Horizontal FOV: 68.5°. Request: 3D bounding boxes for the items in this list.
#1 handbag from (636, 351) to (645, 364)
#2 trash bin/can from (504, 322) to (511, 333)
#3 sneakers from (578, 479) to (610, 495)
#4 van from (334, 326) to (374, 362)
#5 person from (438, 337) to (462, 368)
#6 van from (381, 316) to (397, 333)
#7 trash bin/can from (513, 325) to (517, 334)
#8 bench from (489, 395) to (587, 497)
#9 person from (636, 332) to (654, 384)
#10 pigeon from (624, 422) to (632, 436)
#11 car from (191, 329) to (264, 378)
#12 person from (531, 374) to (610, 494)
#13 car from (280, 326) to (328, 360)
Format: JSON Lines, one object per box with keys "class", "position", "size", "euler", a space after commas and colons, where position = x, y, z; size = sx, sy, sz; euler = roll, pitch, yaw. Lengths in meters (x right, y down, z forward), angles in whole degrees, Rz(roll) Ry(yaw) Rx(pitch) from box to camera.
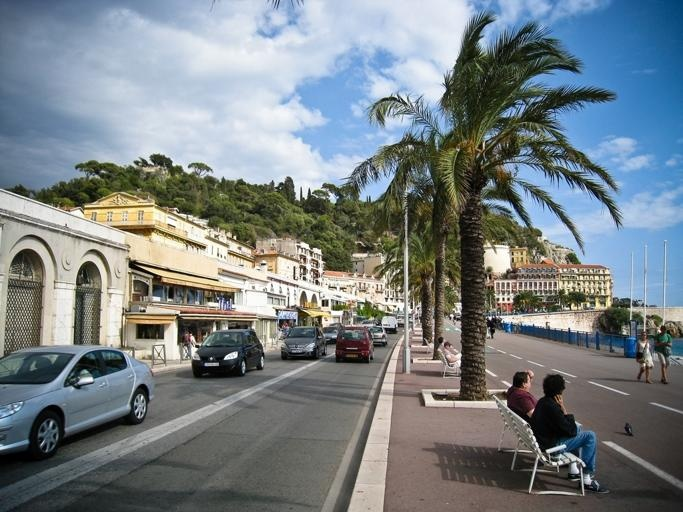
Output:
{"class": "handbag", "position": [10.302, 3.566, 17.315], "size": [0.252, 0.367, 0.337], "euler": [-18, -23, 36]}
{"class": "trash bin/can", "position": [22.132, 9.617, 66.316], "size": [0.977, 1.273, 1.059], "euler": [1, -4, -13]}
{"class": "sneakers", "position": [3.707, 3.395, 7.333], "size": [0.303, 0.144, 0.136], "euler": [0, -1, 7]}
{"class": "van", "position": [0.722, 4.700, 26.524], "size": [1.183, 1.211, 2.224], "euler": [0, -2, 7]}
{"class": "person", "position": [4.096, 3.783, 19.035], "size": [0.604, 0.878, 0.671], "euler": [3, -8, -18]}
{"class": "van", "position": [6.642, 9.496, 68.283], "size": [1.516, 1.706, 2.856], "euler": [0, 0, 10]}
{"class": "trash bin/can", "position": [21.948, 9.307, 63.263], "size": [0.476, 1.059, 2.506], "euler": [-1, -9, 16]}
{"class": "bench", "position": [3.030, 3.086, 8.314], "size": [0.651, 0.833, 2.048], "euler": [8, -3, -7]}
{"class": "person", "position": [10.930, 3.676, 18.086], "size": [0.464, 1.739, 2.513], "euler": [-3, -9, 31]}
{"class": "pigeon", "position": [5.770, 3.518, 10.082], "size": [0.134, 0.247, 0.230], "euler": [-10, -10, 37]}
{"class": "car", "position": [-4.477, 3.920, 20.228], "size": [1.663, 1.868, 3.023], "euler": [-2, -9, 22]}
{"class": "person", "position": [3.426, 2.671, 7.650], "size": [0.973, 1.644, 0.550], "euler": [-2, -7, 21]}
{"class": "car", "position": [-2.187, 4.897, 27.910], "size": [1.995, 1.858, 2.521], "euler": [-1, -9, 15]}
